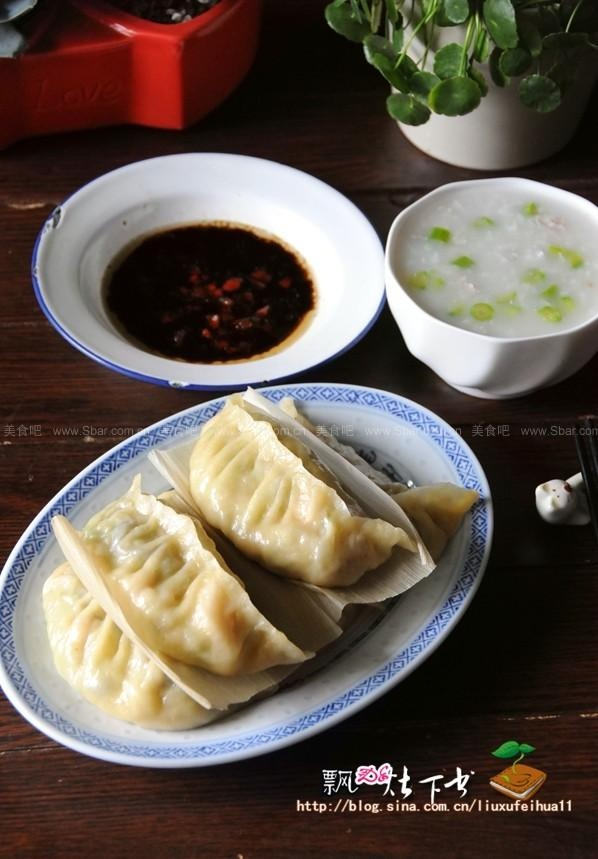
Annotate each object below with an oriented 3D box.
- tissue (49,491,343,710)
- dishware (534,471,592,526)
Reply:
[{"bbox_3d":[-0.131,0.212,0.830,0.307,0.050,0.183,40,53,20],"label":"tissue"},{"bbox_3d":[0.363,0.098,1.060,0.070,0.054,0.072,-8,53,-7],"label":"dishware"}]
